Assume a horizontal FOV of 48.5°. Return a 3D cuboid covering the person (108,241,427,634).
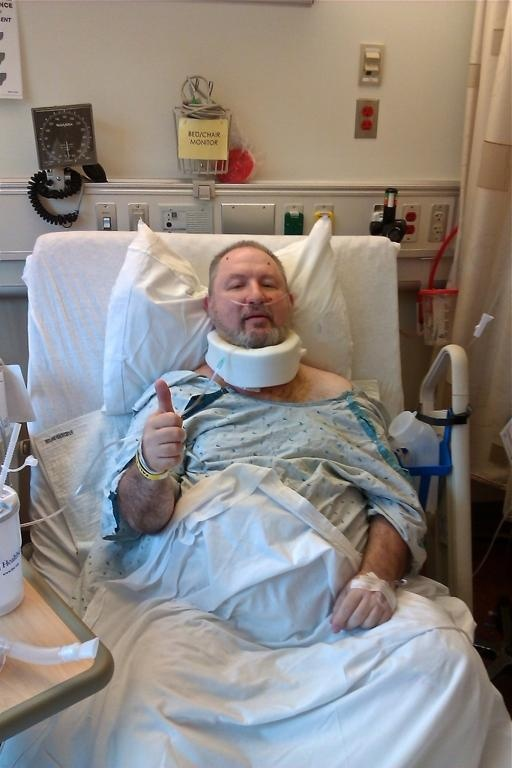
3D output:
[{"bbox_3d":[0.067,0.157,1.359,0.588,0.306,0.863,0,46,-8],"label":"person"}]
